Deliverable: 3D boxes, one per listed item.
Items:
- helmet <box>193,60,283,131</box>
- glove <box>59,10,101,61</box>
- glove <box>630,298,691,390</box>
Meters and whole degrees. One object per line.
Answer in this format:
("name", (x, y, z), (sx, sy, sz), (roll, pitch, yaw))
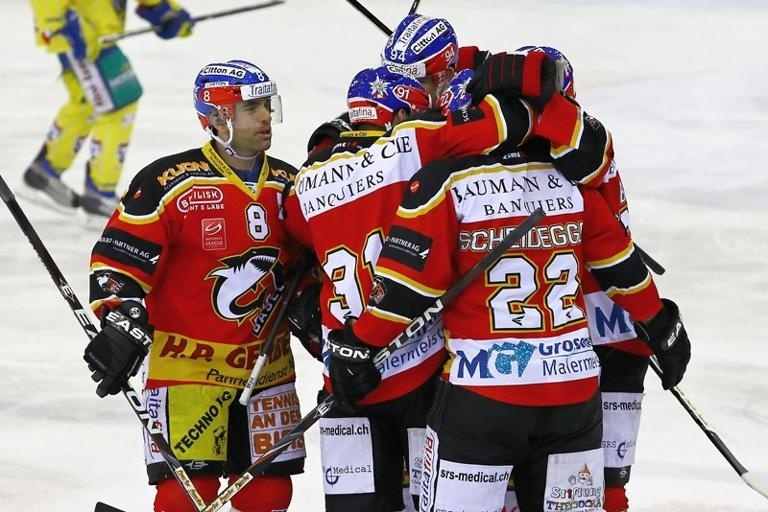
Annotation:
("helmet", (-0.780, -0.855, 5.747), (0.419, 0.328, 0.331), (-2, 3, 15))
("glove", (-2.258, -1.640, 8.110), (0.145, 0.450, 0.176), (-28, 24, -17))
("glove", (1.414, 0.431, 5.455), (0.162, 0.402, 0.296), (-13, 20, -11))
